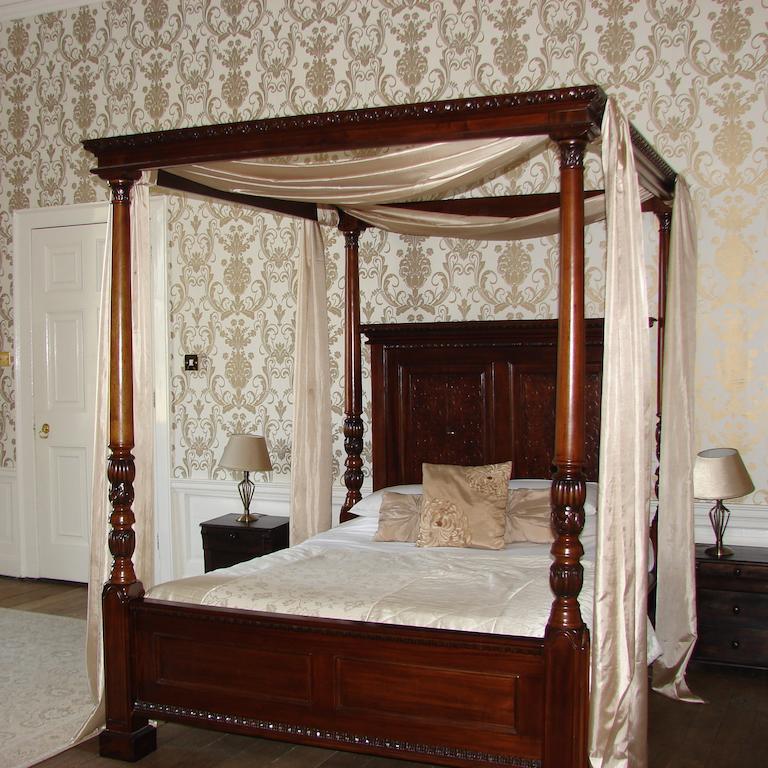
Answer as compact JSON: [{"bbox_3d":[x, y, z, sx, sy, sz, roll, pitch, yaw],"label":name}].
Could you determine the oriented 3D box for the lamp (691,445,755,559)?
[{"bbox_3d":[1.649,0.571,3.696,0.263,0.541,0.275,-1,6,-10],"label":"lamp"}]

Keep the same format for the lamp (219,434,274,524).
[{"bbox_3d":[-0.828,0.567,4.645,0.277,0.534,0.279,1,3,-10],"label":"lamp"}]
